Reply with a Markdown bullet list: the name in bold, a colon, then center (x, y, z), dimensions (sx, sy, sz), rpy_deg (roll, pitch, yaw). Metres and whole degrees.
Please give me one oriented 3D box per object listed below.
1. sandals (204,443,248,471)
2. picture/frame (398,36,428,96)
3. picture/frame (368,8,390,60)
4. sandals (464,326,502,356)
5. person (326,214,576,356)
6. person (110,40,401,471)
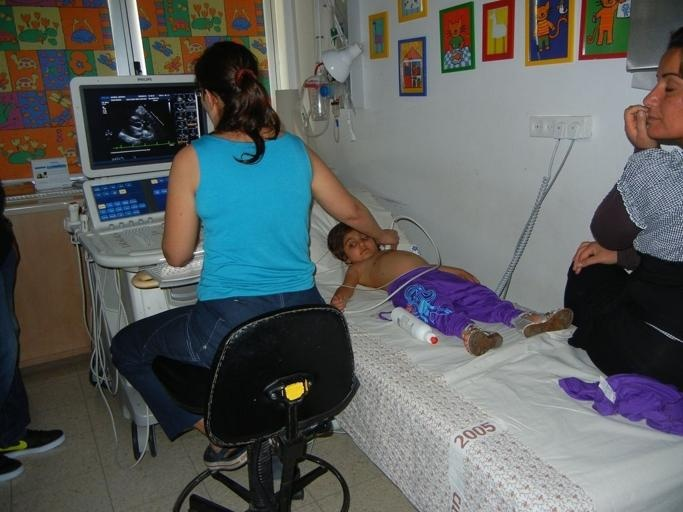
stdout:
- **sandals**: center (-0.428, 0.731, 1.736), dimensions (0.138, 0.054, 0.103), rpy_deg (-2, 9, -16)
- **picture/frame**: center (0.404, -1.066, 2.714), dimensions (0.047, 0.308, 0.239), rpy_deg (-15, 25, -26)
- **picture/frame**: center (0.228, -1.333, 2.859), dimensions (0.026, 0.337, 0.254), rpy_deg (-17, 26, -37)
- **sandals**: center (0.558, 0.335, 1.906), dimensions (0.136, 0.090, 0.050), rpy_deg (-3, 0, -5)
- **person**: center (0.410, -0.015, 2.218), dimensions (0.527, 0.197, 0.910), rpy_deg (-11, 26, -31)
- **person**: center (-0.295, 0.066, 1.744), dimensions (1.049, 1.441, 0.686), rpy_deg (-2, 13, -17)
